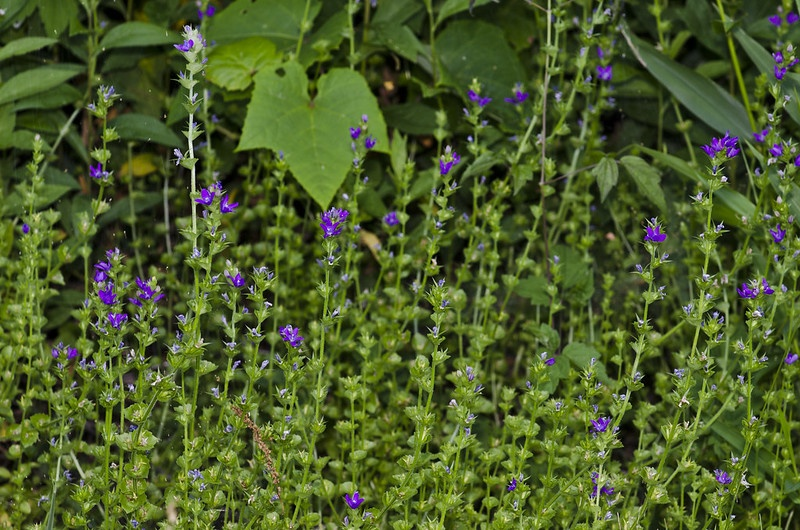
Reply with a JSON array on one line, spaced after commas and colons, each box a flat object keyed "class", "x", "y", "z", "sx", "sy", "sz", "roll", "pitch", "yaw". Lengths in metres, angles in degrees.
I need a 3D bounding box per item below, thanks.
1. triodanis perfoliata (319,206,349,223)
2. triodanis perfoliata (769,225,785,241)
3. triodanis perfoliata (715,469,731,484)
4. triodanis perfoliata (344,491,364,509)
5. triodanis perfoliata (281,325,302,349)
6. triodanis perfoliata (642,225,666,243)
[{"class": "triodanis perfoliata", "x": -0.176, "y": -0.139, "z": 2.960, "sx": 0.045, "sy": 0.060, "sz": 0.057, "roll": 5, "pitch": 3, "yaw": -13}, {"class": "triodanis perfoliata", "x": 1.115, "y": -0.095, "z": 3.138, "sx": 0.045, "sy": 0.066, "sz": 0.022, "roll": 4, "pitch": -7, "yaw": 27}, {"class": "triodanis perfoliata", "x": 0.930, "y": 0.611, "z": 3.048, "sx": 0.042, "sy": 0.044, "sz": 0.049, "roll": 1, "pitch": 6, "yaw": 10}, {"class": "triodanis perfoliata", "x": -0.126, "y": 0.654, "z": 2.978, "sx": 0.042, "sy": 0.032, "sz": 0.051, "roll": -2, "pitch": 4, "yaw": 9}, {"class": "triodanis perfoliata", "x": -0.299, "y": 0.193, "z": 2.962, "sx": 0.057, "sy": 0.065, "sz": 0.138, "roll": 0, "pitch": 7, "yaw": -6}, {"class": "triodanis perfoliata", "x": 0.715, "y": -0.084, "z": 2.964, "sx": 0.056, "sy": 0.054, "sz": 0.124, "roll": 5, "pitch": 8, "yaw": 36}]
